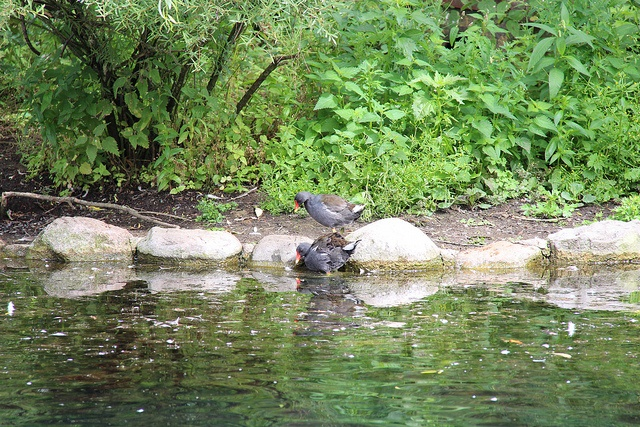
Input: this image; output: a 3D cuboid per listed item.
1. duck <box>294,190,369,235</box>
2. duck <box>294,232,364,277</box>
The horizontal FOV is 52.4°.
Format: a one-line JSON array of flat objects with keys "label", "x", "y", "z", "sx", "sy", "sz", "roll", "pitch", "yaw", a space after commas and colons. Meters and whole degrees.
[{"label": "duck", "x": 0.106, "y": -0.019, "z": 7.902, "sx": 0.992, "sy": 0.479, "sz": 0.368, "roll": -2, "pitch": 20, "yaw": -18}, {"label": "duck", "x": 0.144, "y": 0.443, "z": 7.431, "sx": 0.763, "sy": 0.385, "sz": 0.377, "roll": -9, "pitch": 2, "yaw": 13}]
